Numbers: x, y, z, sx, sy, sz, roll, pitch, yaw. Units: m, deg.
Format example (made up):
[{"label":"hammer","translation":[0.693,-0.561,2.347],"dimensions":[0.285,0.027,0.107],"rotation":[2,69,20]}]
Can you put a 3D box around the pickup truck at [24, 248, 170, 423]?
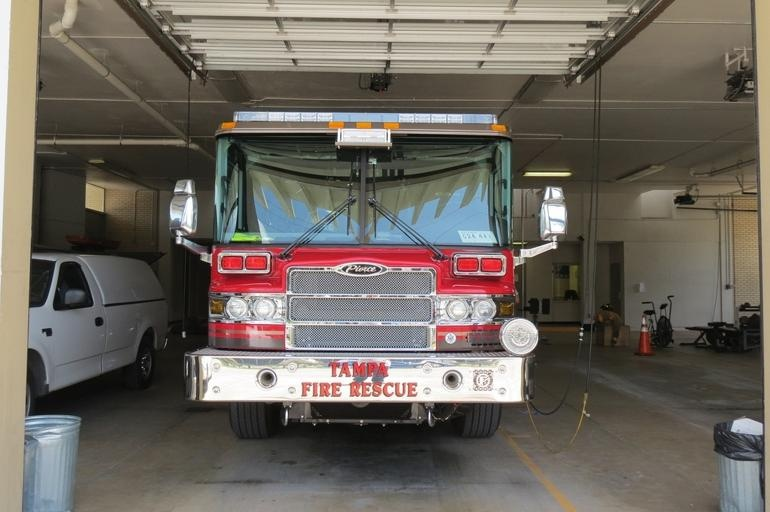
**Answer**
[{"label":"pickup truck","translation":[-4.905,1.291,11.737],"dimensions":[0.572,2.718,3.582],"rotation":[2,9,13]}]

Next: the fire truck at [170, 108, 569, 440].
[{"label":"fire truck","translation":[-0.376,0.501,12.342],"dimensions":[4.685,4.554,8.212],"rotation":[0,-5,1]}]
